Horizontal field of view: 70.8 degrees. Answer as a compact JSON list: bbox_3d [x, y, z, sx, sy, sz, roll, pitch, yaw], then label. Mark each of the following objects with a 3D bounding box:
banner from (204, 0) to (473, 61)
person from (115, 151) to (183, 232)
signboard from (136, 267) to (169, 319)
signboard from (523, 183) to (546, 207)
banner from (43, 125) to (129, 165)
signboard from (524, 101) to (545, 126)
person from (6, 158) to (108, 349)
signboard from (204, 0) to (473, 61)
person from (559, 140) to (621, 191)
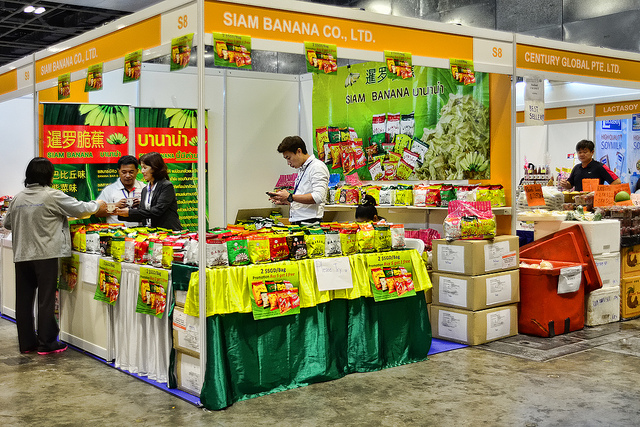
[{"bbox_3d":[0.299,-1.841,4.529,2.899,0.325,0.036,-3,3,-30],"label":"banner"},{"bbox_3d":[-1.792,-0.224,4.715,0.567,0.804,0.308,0,3,14],"label":"person"},{"bbox_3d":[-1.443,0.691,3.878,0.450,0.493,0.025,7,6,43],"label":"signboard"},{"bbox_3d":[2.808,-0.223,5.932,0.266,0.275,0.019,-9,3,-8],"label":"signboard"},{"bbox_3d":[-3.677,-1.221,7.100,1.634,0.906,0.028,2,6,16],"label":"banner"},{"bbox_3d":[2.604,-1.221,5.487,0.362,0.331,0.037,-3,2,-28],"label":"signboard"},{"bbox_3d":[-2.883,0.427,4.769,0.878,1.985,0.373,1,3,21],"label":"person"},{"bbox_3d":[0.302,-1.842,4.538,2.910,0.327,0.036,-3,4,-29],"label":"signboard"},{"bbox_3d":[4.166,-0.750,6.990,0.591,0.814,0.839,-1,3,-11],"label":"person"}]
